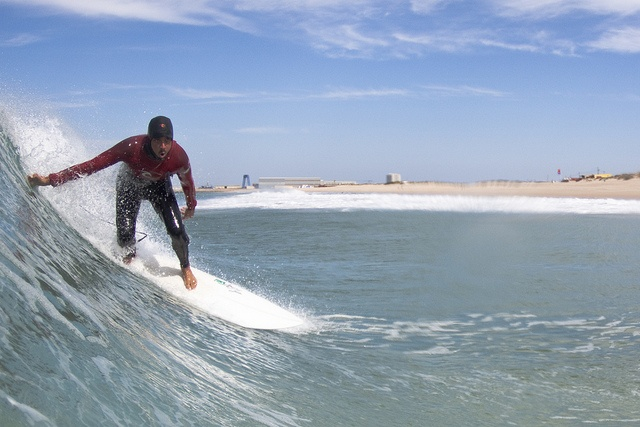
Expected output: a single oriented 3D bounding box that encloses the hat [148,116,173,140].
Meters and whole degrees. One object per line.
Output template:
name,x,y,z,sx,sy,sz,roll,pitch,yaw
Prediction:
hat,-2.325,-1.239,8.609,0.324,0.330,0.191,-4,13,-15
